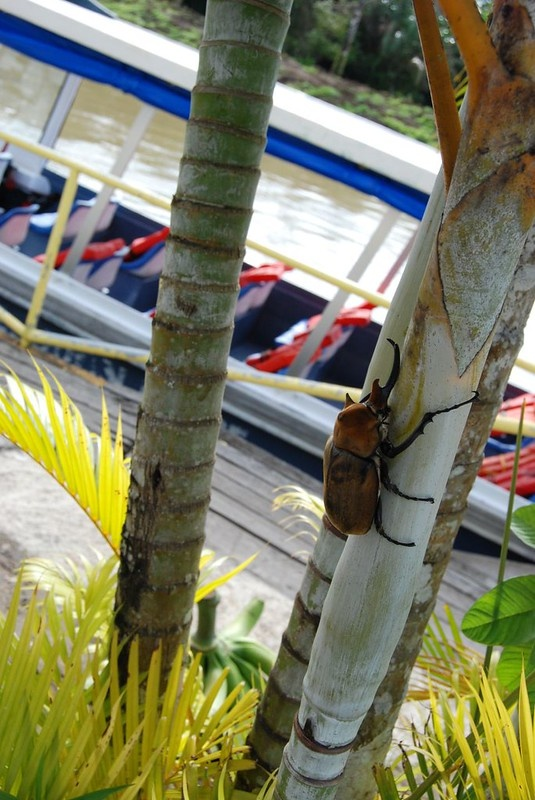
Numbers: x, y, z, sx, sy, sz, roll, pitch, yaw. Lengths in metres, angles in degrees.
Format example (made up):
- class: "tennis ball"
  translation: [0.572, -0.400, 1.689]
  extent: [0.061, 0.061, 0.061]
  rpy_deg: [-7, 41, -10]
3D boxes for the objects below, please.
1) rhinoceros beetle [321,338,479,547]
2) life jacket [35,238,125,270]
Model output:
- class: "rhinoceros beetle"
  translation: [0.158, 0.079, 1.591]
  extent: [0.119, 0.345, 0.285]
  rpy_deg: [11, 22, -24]
- class: "life jacket"
  translation: [-1.122, -0.961, 6.332]
  extent: [0.250, 0.212, 0.794]
  rpy_deg: [23, 16, 21]
